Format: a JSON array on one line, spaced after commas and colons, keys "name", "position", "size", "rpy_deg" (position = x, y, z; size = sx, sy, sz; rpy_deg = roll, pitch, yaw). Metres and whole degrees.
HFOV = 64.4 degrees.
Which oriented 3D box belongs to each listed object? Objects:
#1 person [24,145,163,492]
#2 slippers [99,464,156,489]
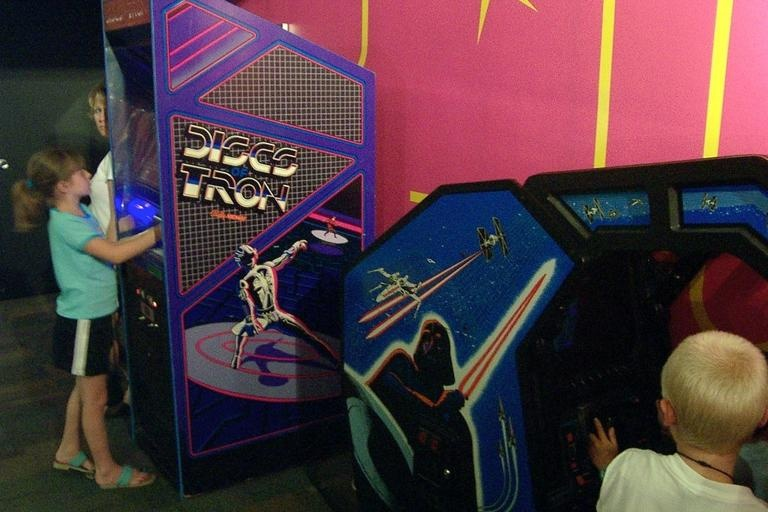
[{"name": "person", "position": [-1.467, 0.314, 3.024], "size": [0.878, 1.617, 0.384], "rpy_deg": [10, 4, 10]}, {"name": "slippers", "position": [-1.274, 1.083, 3.036], "size": [0.222, 0.073, 0.110], "rpy_deg": [1, 15, -6]}]
